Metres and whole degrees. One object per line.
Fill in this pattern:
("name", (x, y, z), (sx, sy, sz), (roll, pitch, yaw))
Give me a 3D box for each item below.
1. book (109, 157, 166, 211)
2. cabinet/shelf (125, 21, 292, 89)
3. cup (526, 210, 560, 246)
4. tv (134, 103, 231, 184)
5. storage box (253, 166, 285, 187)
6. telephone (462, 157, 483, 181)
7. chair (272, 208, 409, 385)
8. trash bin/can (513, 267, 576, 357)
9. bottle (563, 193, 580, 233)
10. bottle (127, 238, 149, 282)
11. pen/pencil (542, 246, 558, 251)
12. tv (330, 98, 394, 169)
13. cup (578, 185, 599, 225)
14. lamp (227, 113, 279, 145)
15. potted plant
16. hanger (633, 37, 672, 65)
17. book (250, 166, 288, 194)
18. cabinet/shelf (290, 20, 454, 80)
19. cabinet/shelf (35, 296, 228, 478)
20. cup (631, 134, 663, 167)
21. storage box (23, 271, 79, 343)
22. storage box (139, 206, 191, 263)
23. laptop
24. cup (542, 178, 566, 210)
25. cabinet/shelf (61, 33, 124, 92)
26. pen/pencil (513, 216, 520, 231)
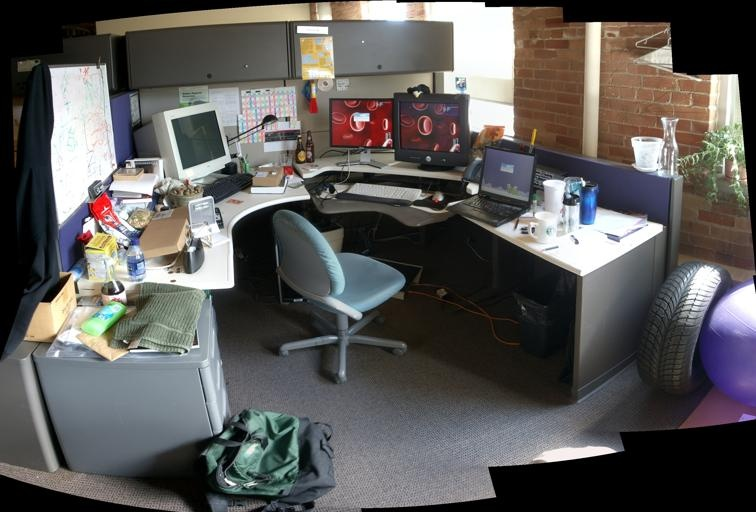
("book", (-1.359, -0.439, 2.962), (0.227, 0.094, 0.318), (3, 31, 0))
("cabinet/shelf", (-1.046, -1.278, 3.247), (1.010, 0.330, 0.083), (-8, 12, -11))
("cup", (0.839, -0.150, 2.623), (0.178, 0.131, 0.112), (-23, 29, -39))
("tv", (-1.254, -0.798, 3.488), (0.492, 0.564, 0.630), (24, 32, 26))
("storage box", (-0.724, -0.523, 3.409), (0.142, 0.055, 0.209), (-1, 29, 3))
("telephone", (0.625, -0.565, 3.398), (0.098, 0.168, 0.054), (16, 2, 37))
("chair", (-0.209, 0.133, 3.002), (0.716, 0.972, 0.721), (22, 35, 36))
("trash bin/can", (0.948, 0.333, 2.911), (0.353, 0.405, 0.289), (-23, 35, -35))
("bottle", (1.034, -0.236, 2.732), (0.141, 0.194, 0.072), (-13, 14, -31))
("bottle", (-1.131, 0.011, 2.428), (0.084, 0.190, 0.179), (-11, 13, -24))
("pen/pencil", (0.855, -0.041, 2.565), (0.082, 0.013, 0.012), (-10, 16, -33))
("tv", (-0.107, -0.908, 3.723), (0.464, 0.459, 0.224), (2, 15, 9))
("cup", (1.111, -0.274, 2.745), (0.140, 0.234, 0.135), (-5, 22, 2))
("lamp", (-0.901, -0.925, 3.693), (0.366, 0.128, 0.084), (-22, 46, -8))
("potted plant", (1.875, -0.498, 2.907), (0.333, 0.474, 0.177), (3, 15, 38))
("hanger", (1.399, -1.004, 2.583), (0.158, 0.120, 0.207), (-5, 12, 6))
("book", (-0.709, -0.496, 3.451), (0.169, 0.069, 0.234), (-2, 25, -1))
("cabinet/shelf", (-0.010, -1.437, 3.516), (1.147, 0.329, 0.127), (-10, 12, -20))
("cabinet/shelf", (-0.963, 0.615, 2.460), (0.830, 0.829, 0.613), (2, 30, -1))
("cup", (1.471, -0.594, 2.891), (0.188, 0.199, 0.196), (0, 15, 0))
("storage box", (-1.342, 0.215, 2.233), (0.226, 0.145, 0.235), (3, 21, 6))
("storage box", (-1.045, -0.132, 2.634), (0.160, 0.063, 0.327), (-6, 40, 0))
("laptop", (0.699, -0.423, 3.036), (0.477, 0.409, 0.526), (-24, 32, -32))
("cup", (0.963, -0.339, 2.817), (0.143, 0.162, 0.113), (13, 26, 26))
("cabinet/shelf", (-1.660, -1.160, 3.104), (0.332, 0.344, 0.254), (-14, 14, -33))
("pen/pencil", (0.755, -0.183, 2.834), (0.023, 0.009, 0.169), (-3, 30, 24))
